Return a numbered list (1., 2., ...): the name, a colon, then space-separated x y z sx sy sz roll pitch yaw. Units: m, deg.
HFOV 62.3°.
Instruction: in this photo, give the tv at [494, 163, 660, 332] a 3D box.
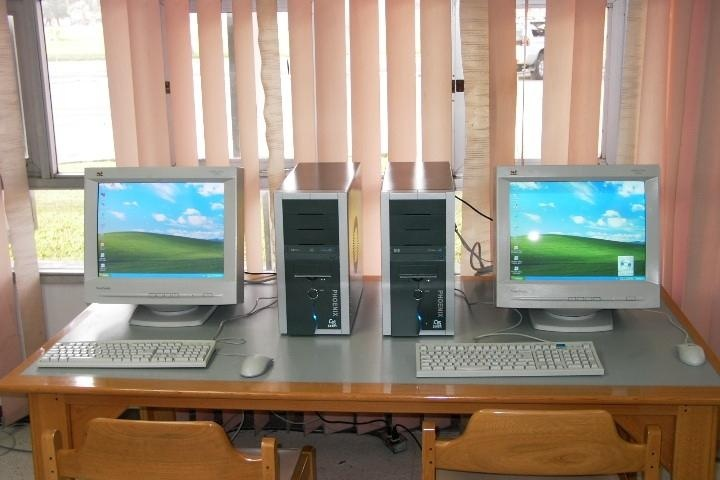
1. tv: 0.748 0.012 2.554 0.845 0.789 0.605 0 4 6
